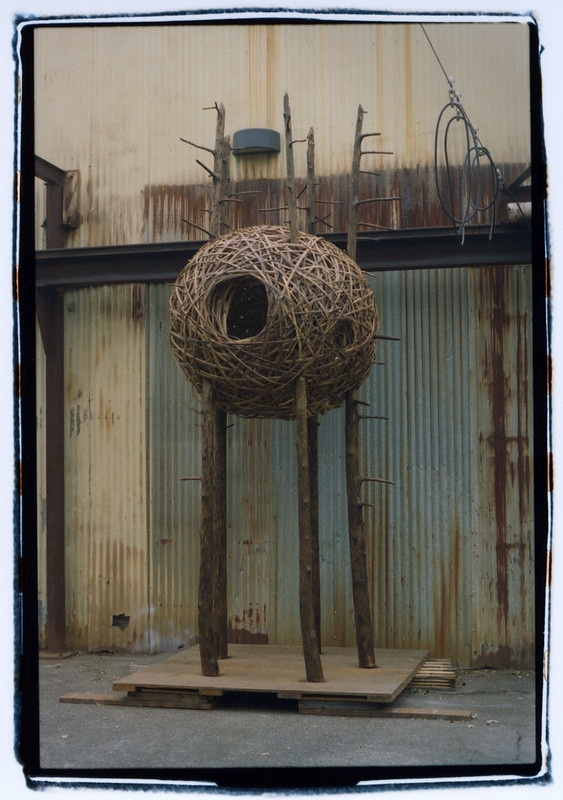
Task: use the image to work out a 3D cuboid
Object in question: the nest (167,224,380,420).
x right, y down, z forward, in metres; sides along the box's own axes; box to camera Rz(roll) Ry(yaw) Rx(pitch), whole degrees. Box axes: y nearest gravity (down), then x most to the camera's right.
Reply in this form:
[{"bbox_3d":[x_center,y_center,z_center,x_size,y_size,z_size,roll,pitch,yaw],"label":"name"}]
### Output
[{"bbox_3d":[0.016,-0.807,14.146,1.215,1.724,1.638,-2,22,3],"label":"nest"}]
